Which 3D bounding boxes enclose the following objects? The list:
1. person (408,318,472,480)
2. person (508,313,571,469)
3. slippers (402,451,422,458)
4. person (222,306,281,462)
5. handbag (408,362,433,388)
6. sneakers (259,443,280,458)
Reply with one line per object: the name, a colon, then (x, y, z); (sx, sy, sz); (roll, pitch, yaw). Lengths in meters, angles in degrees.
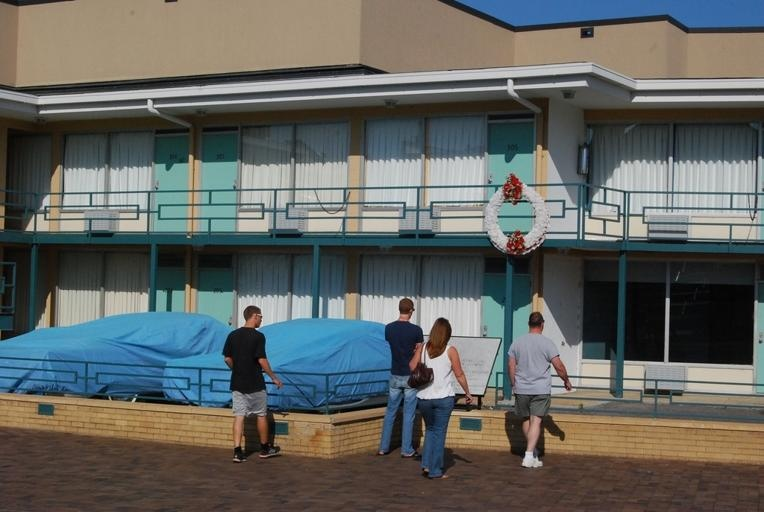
person: (1.020, 2.694, 22.098); (0.936, 2.997, 0.430); (0, -2, 3)
person: (2.980, 2.634, 22.909); (0.978, 2.991, 0.401); (-1, -2, 6)
slippers: (0.577, 3.956, 23.388); (0.395, 0.170, 0.143); (0, 5, -32)
person: (-2.577, 2.508, 22.892); (1.008, 3.003, 0.614); (0, -2, -7)
handbag: (0.711, 2.270, 21.993); (0.455, 0.490, 0.211); (-2, -3, 27)
sneakers: (-2.218, 3.845, 23.176); (0.195, 0.263, 0.515); (6, 9, 42)
